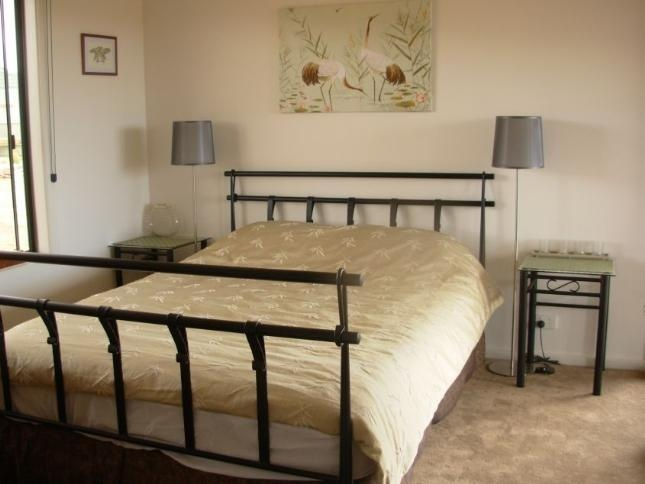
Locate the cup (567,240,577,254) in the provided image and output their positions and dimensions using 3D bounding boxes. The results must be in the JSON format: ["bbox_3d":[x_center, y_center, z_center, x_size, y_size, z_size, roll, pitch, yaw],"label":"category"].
[{"bbox_3d":[1.635,0.039,3.505,0.072,0.107,0.068,2,-5,0],"label":"cup"}]

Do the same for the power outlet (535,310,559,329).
[{"bbox_3d":[1.526,0.508,3.644,0.204,0.140,0.111,3,5,22],"label":"power outlet"}]

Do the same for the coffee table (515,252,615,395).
[{"bbox_3d":[1.498,0.550,3.356,0.650,0.737,0.642,6,-6,5],"label":"coffee table"}]

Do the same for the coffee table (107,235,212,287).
[{"bbox_3d":[-1.303,0.035,4.178,0.499,0.478,0.503,3,10,18],"label":"coffee table"}]

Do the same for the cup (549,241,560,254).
[{"bbox_3d":[1.539,0.034,3.548,0.076,0.087,0.077,1,-3,0],"label":"cup"}]

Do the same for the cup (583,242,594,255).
[{"bbox_3d":[1.732,0.041,3.475,0.072,0.080,0.072,4,-1,0],"label":"cup"}]
